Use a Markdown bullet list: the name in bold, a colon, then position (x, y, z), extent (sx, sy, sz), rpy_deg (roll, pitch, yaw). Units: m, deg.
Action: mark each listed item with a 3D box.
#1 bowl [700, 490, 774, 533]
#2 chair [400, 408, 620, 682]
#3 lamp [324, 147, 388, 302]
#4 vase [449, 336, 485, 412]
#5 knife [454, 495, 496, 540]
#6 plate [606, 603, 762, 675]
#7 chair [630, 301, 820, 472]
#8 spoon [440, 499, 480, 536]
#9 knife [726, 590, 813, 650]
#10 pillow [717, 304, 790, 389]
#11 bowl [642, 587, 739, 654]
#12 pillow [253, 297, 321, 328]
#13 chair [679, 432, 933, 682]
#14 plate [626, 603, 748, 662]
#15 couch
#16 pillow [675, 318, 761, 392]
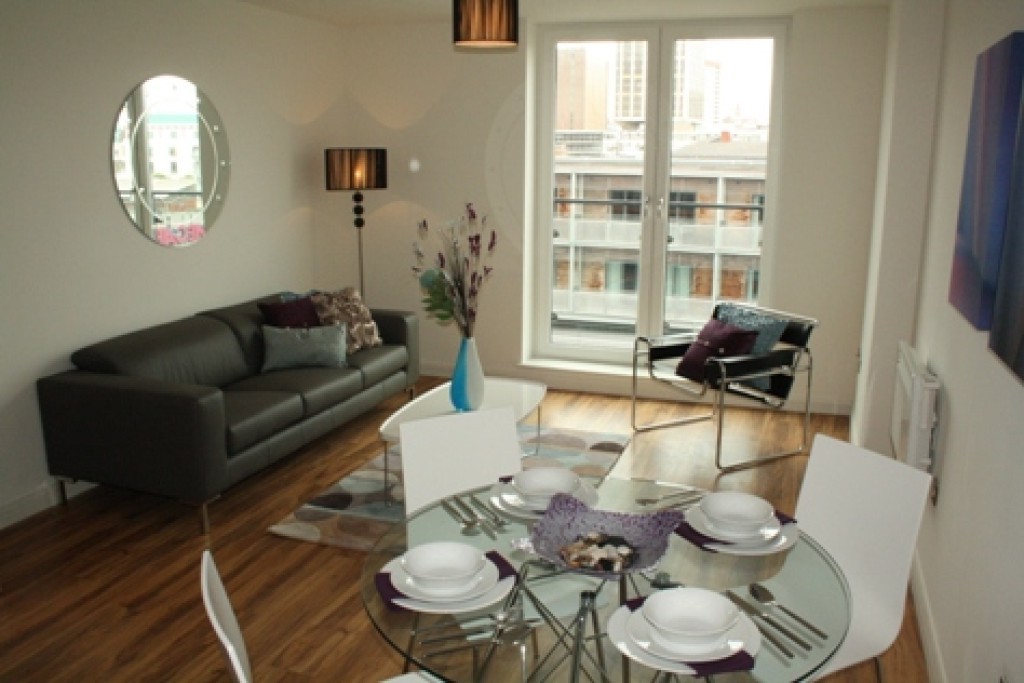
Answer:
- **bowl**: position (0.829, 0.630, 2.684), extent (0.171, 0.043, 0.163), rpy_deg (-2, 24, 1)
- **chair**: position (-0.037, 0.730, 3.255), extent (0.721, 0.723, 0.473), rpy_deg (-14, 22, -32)
- **lamp**: position (-1.337, -1.033, 6.533), extent (0.552, 1.361, 0.523), rpy_deg (-6, 15, -14)
- **vase**: position (-0.280, 0.221, 4.536), extent (0.206, 0.477, 0.274), rpy_deg (-3, 15, -4)
- **knife**: position (-0.152, 0.656, 2.769), extent (0.058, 0.043, 0.348), rpy_deg (-18, 21, -19)
- **plate**: position (0.527, 0.905, 2.210), extent (0.472, 0.098, 0.220), rpy_deg (-1, 14, 4)
- **chair**: position (1.514, 0.284, 5.400), extent (0.899, 1.038, 1.047), rpy_deg (-5, 12, -22)
- **spoon**: position (-0.190, 0.670, 2.763), extent (0.057, 0.040, 0.264), rpy_deg (-7, 19, -23)
- **knife**: position (0.807, 0.882, 2.289), extent (0.043, 0.017, 0.312), rpy_deg (-21, 23, -17)
- **pillow**: position (1.854, 0.068, 5.424), extent (0.169, 0.542, 0.567), rpy_deg (21, -1, -38)
- **bowl**: position (0.543, 0.850, 2.234), extent (0.194, 0.075, 0.191), rpy_deg (-7, 16, 2)
- **pillow**: position (-1.669, -0.195, 5.522), extent (0.296, 0.093, 0.300), rpy_deg (1, 41, -24)
- **chair**: position (1.265, 0.731, 2.992), extent (0.933, 0.799, 0.781), rpy_deg (-2, 14, -36)
- **plate**: position (0.549, 0.915, 2.269), extent (0.358, 0.056, 0.388), rpy_deg (-2, 3, 16)
- **couch**: position (-1.884, 0.357, 4.997), extent (1.104, 0.943, 2.061), rpy_deg (6, 16, 29)
- **pillow**: position (1.523, 0.101, 5.366), extent (0.148, 0.464, 0.479), rpy_deg (24, 7, -35)
